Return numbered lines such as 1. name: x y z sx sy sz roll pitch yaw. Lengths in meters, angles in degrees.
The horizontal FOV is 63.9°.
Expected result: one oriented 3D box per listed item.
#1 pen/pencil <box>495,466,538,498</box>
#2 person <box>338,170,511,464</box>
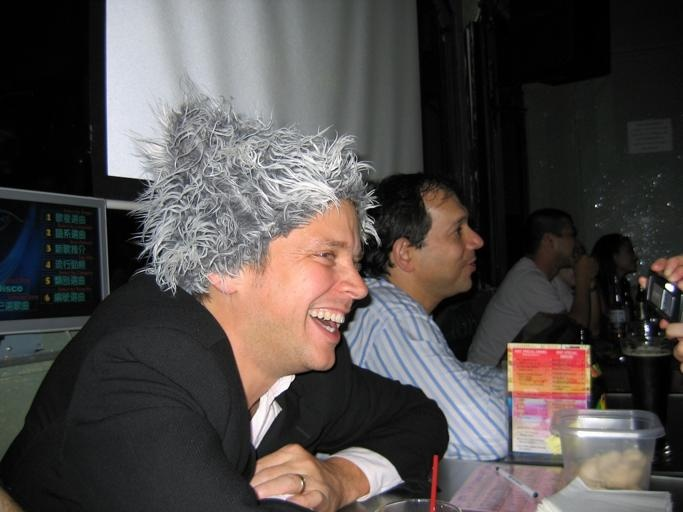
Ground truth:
1. pen/pencil: 0.396 0.511 1.241 0.022 0.015 0.094 19 2 -25
2. person: 0.210 0.185 2.053 0.619 1.064 0.917 -4 -11 9
